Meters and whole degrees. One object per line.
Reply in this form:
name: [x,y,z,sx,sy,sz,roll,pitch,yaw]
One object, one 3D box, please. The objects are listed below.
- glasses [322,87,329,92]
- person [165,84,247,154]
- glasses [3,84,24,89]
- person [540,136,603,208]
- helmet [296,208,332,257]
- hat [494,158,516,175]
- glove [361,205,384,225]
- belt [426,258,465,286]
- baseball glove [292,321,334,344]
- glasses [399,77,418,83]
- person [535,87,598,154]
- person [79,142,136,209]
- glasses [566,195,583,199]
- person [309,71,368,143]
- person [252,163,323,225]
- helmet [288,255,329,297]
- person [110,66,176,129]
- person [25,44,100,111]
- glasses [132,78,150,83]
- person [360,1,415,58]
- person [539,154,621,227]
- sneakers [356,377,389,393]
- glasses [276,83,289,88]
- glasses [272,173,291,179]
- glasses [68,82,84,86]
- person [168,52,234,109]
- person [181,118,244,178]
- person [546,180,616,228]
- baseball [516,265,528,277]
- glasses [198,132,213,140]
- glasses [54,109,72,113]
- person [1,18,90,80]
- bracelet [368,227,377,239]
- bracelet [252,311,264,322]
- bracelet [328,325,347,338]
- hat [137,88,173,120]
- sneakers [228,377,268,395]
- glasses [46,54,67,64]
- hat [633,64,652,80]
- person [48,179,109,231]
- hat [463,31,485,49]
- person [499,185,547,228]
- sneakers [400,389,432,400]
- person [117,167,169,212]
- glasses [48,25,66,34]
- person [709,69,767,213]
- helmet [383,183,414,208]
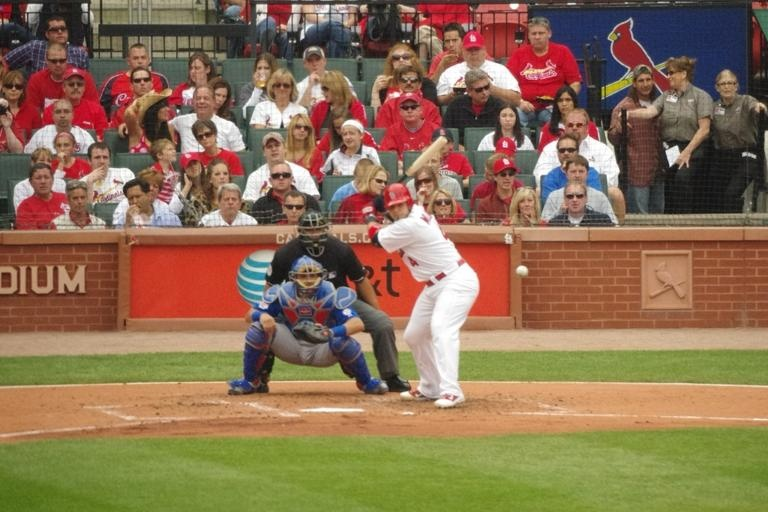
glasses: [-0.960,-2.758,28.548,0.086,0.087,0.043,21,14,10]
person: [-2.932,-2.222,28.414,1.165,1.656,0.599,-4,-18,-8]
glasses: [-6.168,-2.836,28.741,0.307,0.077,0.088,-1,3,-12]
person: [2.945,-1.271,27.737,0.903,1.177,0.623,-4,-12,-13]
helmet: [-0.965,-0.302,23.717,0.456,0.553,0.580,-2,15,-7]
hat: [1.928,-1.422,27.319,0.357,0.262,0.183,0,3,3]
glove: [-0.151,-0.619,24.902,0.382,0.276,0.161,12,41,-3]
belt: [0.845,0.241,23.658,0.429,0.111,0.388,-34,3,4]
baseball glove: [-0.970,1.019,23.495,0.421,0.201,0.298,12,-23,18]
glasses: [0.424,-2.959,28.907,0.240,0.091,0.068,0,3,0]
person: [3.024,-2.219,28.550,1.250,1.625,0.493,0,18,7]
person: [-4.753,-1.350,27.865,0.906,1.132,0.957,-7,9,-27]
glasses: [3.047,-0.943,27.440,0.214,0.061,0.054,0,3,6]
person: [-0.773,-2.432,28.537,0.760,1.140,1.062,-19,25,-39]
person: [-1.521,-0.933,26.753,1.048,0.939,0.547,-3,-5,-5]
helmet: [-1.015,0.296,23.405,0.486,0.492,0.525,0,5,-8]
person: [-4.059,-2.626,28.976,1.035,1.281,0.410,-11,-23,-20]
person: [-5.546,-3.040,29.477,1.273,1.590,0.873,-6,0,-15]
glasses: [-4.039,-2.946,28.852,0.299,0.104,0.138,-1,3,-8]
person: [0.102,-4.026,30.738,0.742,0.968,1.017,1,41,-2]
person: [2.955,-1.177,27.821,0.581,0.978,1.045,-14,-6,-7]
sneakers: [-0.147,1.812,24.066,0.380,0.158,0.193,0,6,-1]
glasses: [-1.688,-2.833,28.589,0.199,0.074,0.060,-1,3,-6]
glasses: [-1.581,-1.247,26.777,0.280,0.082,0.120,0,3,-5]
glasses: [-5.158,-2.908,29.037,0.212,0.088,0.054,-1,3,-10]
person: [-3.120,-2.967,29.449,1.201,0.979,0.691,3,18,18]
person: [-2.792,-1.717,27.752,0.662,1.068,0.348,-22,-15,0]
person: [3.123,-0.785,27.675,1.261,0.610,0.502,0,-6,9]
baseball: [2.224,0.244,27.357,0.187,0.170,0.173,5,-9,-23]
glasses: [-2.834,-1.927,27.570,0.203,0.119,0.038,-1,3,-7]
glasses: [-5.243,-2.379,28.217,0.278,0.051,0.083,-1,3,-15]
person: [-5.888,-3.588,30.059,1.370,1.710,0.509,0,-36,-22]
bracelet: [-0.148,-0.327,23.775,0.133,0.156,0.127,2,1,-15]
bracelet: [-1.719,0.834,23.592,0.134,0.099,0.105,2,2,30]
bracelet: [-0.606,1.028,23.526,0.183,0.085,0.134,-6,15,4]
hat: [-3.773,-2.510,28.335,0.532,0.468,0.399,-1,3,-9]
sneakers: [-1.866,1.801,23.957,0.541,0.239,0.210,5,2,-14]
glasses: [-5.536,-3.330,29.235,0.313,0.125,0.133,-1,3,-11]
hat: [4.320,-3.102,28.722,0.288,0.213,0.282,1,-5,0]
person: [-4.861,-0.722,27.342,1.152,1.004,0.684,-2,-2,-19]
hat: [1.545,-3.693,29.419,0.347,0.311,0.285,0,3,2]
person: [2.231,-0.719,27.623,0.894,0.763,0.535,0,-4,-12]
sneakers: [0.448,1.930,23.761,0.409,0.156,0.159,7,-2,2]
person: [-3.812,-1.135,27.396,0.947,0.835,0.562,1,-7,-15]
glasses: [-5.613,-3.898,29.640,0.267,0.091,0.071,-1,3,-11]
person: [5.781,-1.878,28.162,0.842,2.311,0.782,0,3,11]
helmet: [0.200,-0.832,23.726,0.287,0.210,0.386,-11,-1,15]
